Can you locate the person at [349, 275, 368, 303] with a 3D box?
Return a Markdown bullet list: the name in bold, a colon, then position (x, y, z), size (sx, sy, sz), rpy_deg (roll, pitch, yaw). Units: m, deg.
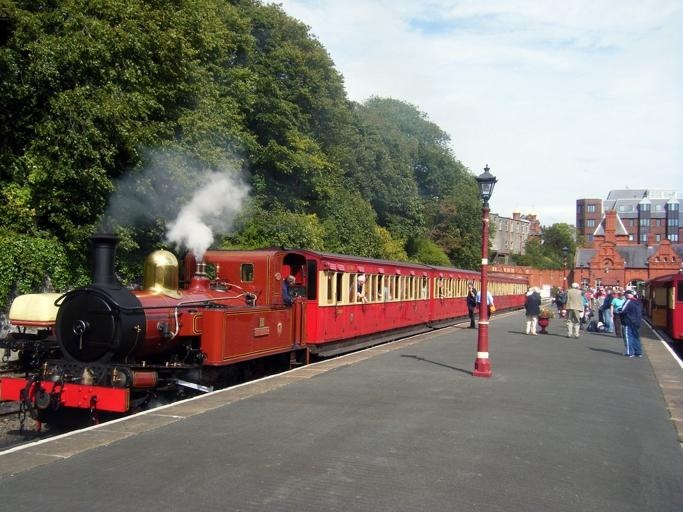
- **person**: position (0.531, 1.098, 23.618), size (0.797, 1.109, 0.639), rpy_deg (2, 2, 28)
